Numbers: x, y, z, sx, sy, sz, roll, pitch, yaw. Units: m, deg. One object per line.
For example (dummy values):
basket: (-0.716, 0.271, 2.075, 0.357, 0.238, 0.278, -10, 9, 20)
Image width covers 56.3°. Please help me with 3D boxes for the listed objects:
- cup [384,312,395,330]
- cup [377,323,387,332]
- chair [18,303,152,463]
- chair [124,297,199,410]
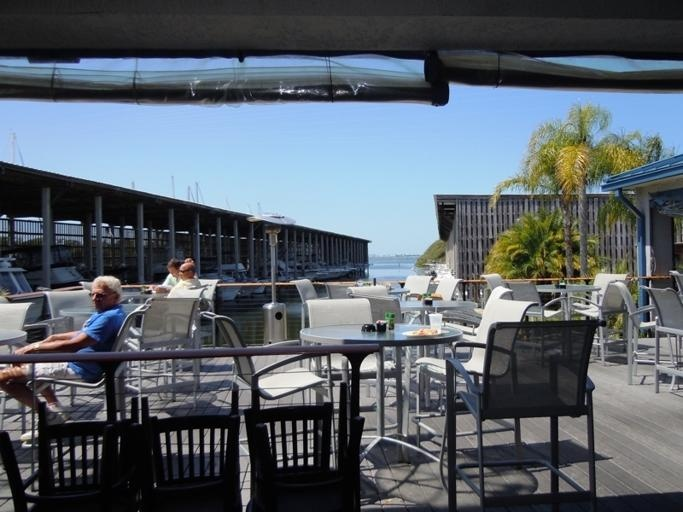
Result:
cup: (0.341, 0.486, 4.717, 0.093, 0.171, 0.096, -1, 0, 0)
cup: (0.286, 0.507, 4.498, 0.056, 0.047, 0.063, 0, -4, -7)
chair: (-2.118, 0.927, 5.275, 1.149, 1.425, 0.978, 5, -6, -12)
chair: (-1.603, 0.862, 5.910, 0.608, 0.879, 0.663, -1, -14, -6)
